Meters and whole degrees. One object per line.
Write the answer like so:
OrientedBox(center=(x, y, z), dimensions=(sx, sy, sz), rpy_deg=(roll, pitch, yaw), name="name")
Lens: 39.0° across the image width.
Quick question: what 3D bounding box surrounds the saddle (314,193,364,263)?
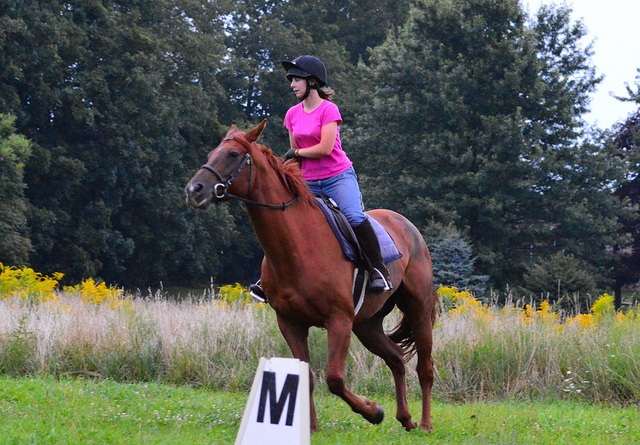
OrientedBox(center=(0.493, 0.165, 28.083), dimensions=(0.517, 1.957, 1.443), rpy_deg=(-31, -6, 3), name="saddle")
